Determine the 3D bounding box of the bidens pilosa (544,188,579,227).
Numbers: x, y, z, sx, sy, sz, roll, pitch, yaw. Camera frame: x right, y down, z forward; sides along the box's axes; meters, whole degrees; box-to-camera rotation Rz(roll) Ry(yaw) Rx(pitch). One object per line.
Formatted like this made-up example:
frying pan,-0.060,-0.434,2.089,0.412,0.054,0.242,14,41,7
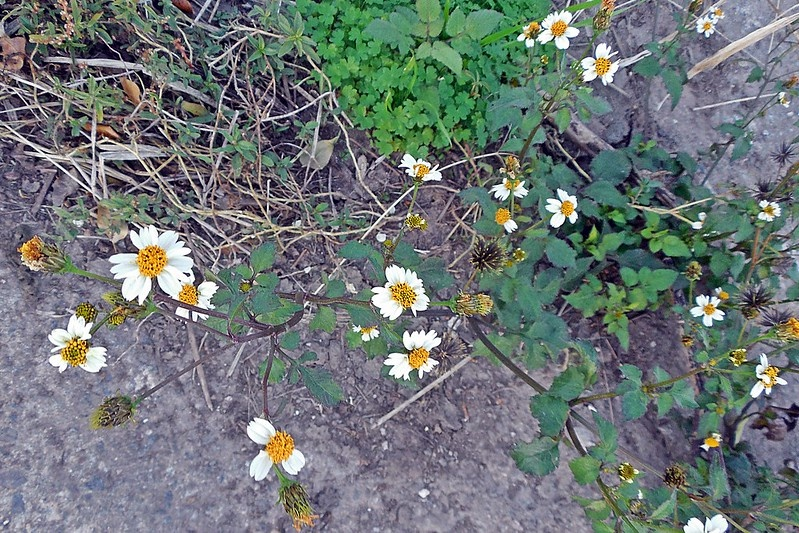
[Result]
bidens pilosa,1.178,-0.416,4.131,0.238,0.240,0.080,-12,81,-37

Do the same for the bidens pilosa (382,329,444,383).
bidens pilosa,0.052,0.520,3.891,0.351,0.357,0.128,-39,37,-10

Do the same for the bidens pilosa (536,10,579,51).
bidens pilosa,1.079,-1.632,4.068,0.284,0.109,0.306,-8,87,15

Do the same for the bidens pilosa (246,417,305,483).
bidens pilosa,-0.773,1.123,3.701,0.309,0.415,0.362,-6,83,-5

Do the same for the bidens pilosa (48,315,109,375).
bidens pilosa,-1.985,0.469,3.605,0.330,0.168,0.329,6,82,-4
